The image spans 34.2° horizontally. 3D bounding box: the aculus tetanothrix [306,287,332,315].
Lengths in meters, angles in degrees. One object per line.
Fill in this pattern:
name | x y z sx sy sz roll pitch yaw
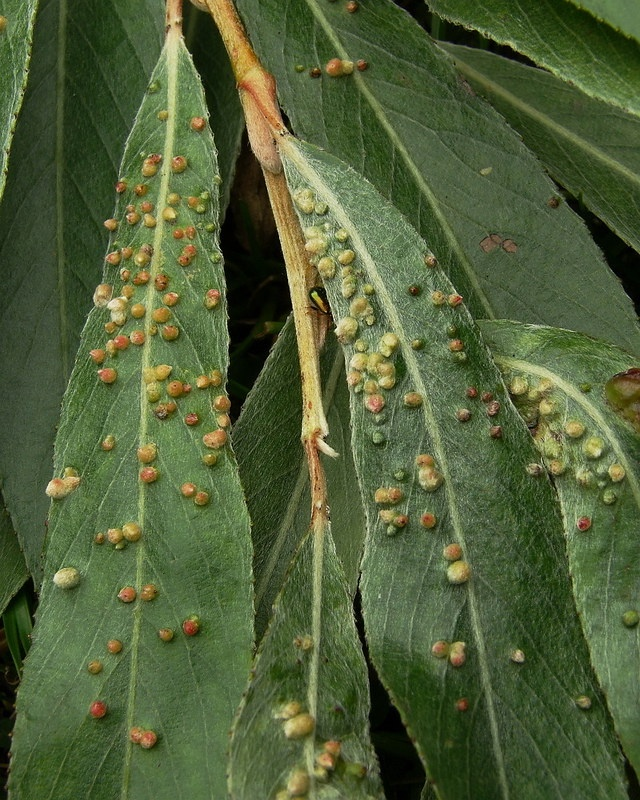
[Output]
aculus tetanothrix | -0.001 -0.104 1.091 0.027 0.028 0.008 -38 25 -12
